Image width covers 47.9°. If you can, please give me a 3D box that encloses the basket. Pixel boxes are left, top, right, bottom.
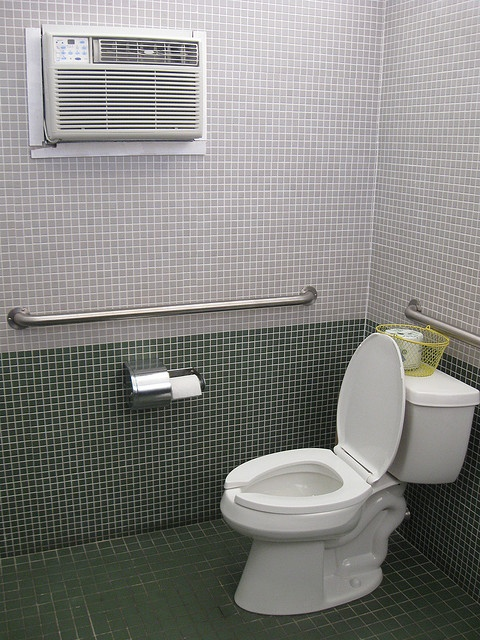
[{"bbox_3d":[0.561,0.096,1.770,0.158,0.091,0.184,-1,13,-11],"label":"basket"}]

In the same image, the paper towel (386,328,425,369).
[{"bbox_3d":[0.527,0.085,1.735,0.117,0.117,0.118,-1,9,-5],"label":"paper towel"}]

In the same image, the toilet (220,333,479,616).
[{"bbox_3d":[0.343,0.425,2.125,1.050,1.152,0.547,-3,12,-16],"label":"toilet"}]

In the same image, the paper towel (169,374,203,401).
[{"bbox_3d":[-0.185,0.229,1.815,0.130,0.089,0.071,-2,-20,-23],"label":"paper towel"}]
